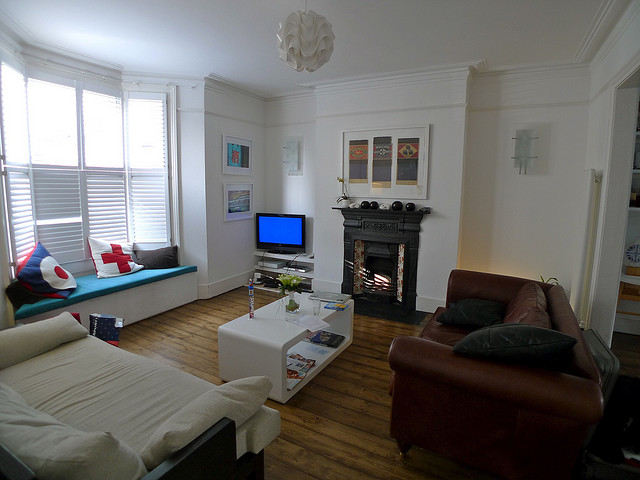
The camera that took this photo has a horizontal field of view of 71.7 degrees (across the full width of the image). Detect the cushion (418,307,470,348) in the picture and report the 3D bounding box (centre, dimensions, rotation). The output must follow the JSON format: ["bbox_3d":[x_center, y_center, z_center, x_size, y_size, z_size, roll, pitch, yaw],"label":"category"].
[{"bbox_3d":[1.107,0.739,3.919,0.299,0.097,0.412,4,11,31],"label":"cushion"}]

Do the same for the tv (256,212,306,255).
[{"bbox_3d":[-0.565,-0.096,6.547,0.838,0.609,0.216,4,11,24],"label":"tv"}]

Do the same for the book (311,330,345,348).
[{"bbox_3d":[0.094,1.016,4.546,0.296,0.058,0.273,5,9,28],"label":"book"}]

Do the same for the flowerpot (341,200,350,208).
[{"bbox_3d":[0.344,-0.487,5.877,0.145,0.138,0.079,4,11,22],"label":"flowerpot"}]

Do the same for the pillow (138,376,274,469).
[{"bbox_3d":[-0.671,1.095,2.699,0.789,0.337,0.228,-8,11,-44],"label":"pillow"}]

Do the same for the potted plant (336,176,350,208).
[{"bbox_3d":[0.310,-0.640,5.898,0.209,0.407,0.190,2,9,15],"label":"potted plant"}]

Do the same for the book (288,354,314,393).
[{"bbox_3d":[-0.172,1.167,4.085,0.077,0.352,0.317,14,22,0],"label":"book"}]

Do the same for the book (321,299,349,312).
[{"bbox_3d":[0.147,0.667,4.434,0.247,0.090,0.185,2,8,13],"label":"book"}]

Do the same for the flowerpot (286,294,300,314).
[{"bbox_3d":[-0.245,0.631,4.381,0.143,0.204,0.144,5,7,39],"label":"flowerpot"}]

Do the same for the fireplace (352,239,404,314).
[{"bbox_3d":[0.803,0.475,5.846,0.850,1.062,0.282,4,7,26],"label":"fireplace"}]

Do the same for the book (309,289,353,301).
[{"bbox_3d":[0.120,0.590,4.652,0.382,0.057,0.314,4,9,26],"label":"book"}]

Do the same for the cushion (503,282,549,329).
[{"bbox_3d":[1.663,0.606,3.595,0.306,0.307,1.105,4,9,23],"label":"cushion"}]

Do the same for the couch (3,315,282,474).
[{"bbox_3d":[-1.402,1.057,2.917,1.720,0.617,0.937,8,11,35],"label":"couch"}]
